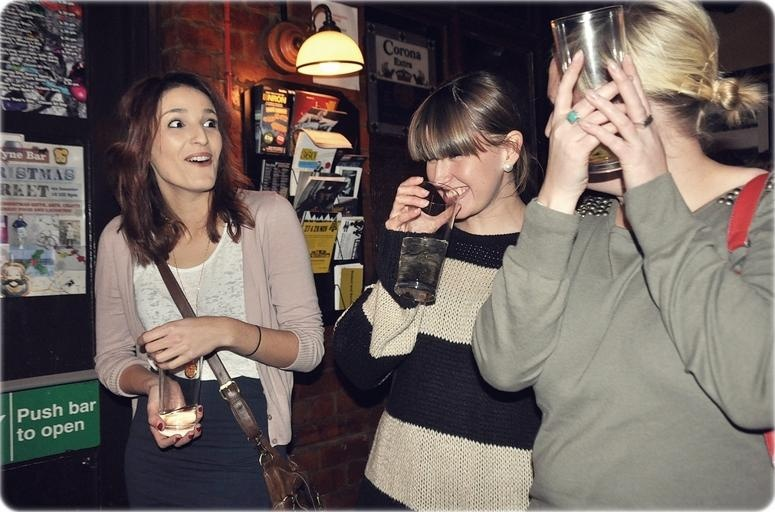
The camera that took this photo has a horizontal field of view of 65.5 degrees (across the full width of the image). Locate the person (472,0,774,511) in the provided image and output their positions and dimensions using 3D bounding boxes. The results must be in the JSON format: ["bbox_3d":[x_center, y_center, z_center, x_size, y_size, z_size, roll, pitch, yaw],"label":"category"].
[{"bbox_3d":[0.648,0.014,1.657,0.763,1.398,0.414,2,11,7],"label":"person"}]

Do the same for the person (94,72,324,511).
[{"bbox_3d":[-0.659,0.105,2.128,0.847,1.515,0.630,-1,11,-7],"label":"person"}]

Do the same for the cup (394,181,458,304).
[{"bbox_3d":[0.116,-0.047,1.947,0.199,0.385,0.165,4,11,18],"label":"cup"}]

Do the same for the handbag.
[{"bbox_3d":[-0.331,0.755,2.025,0.106,0.268,0.189,-34,27,14],"label":"handbag"}]

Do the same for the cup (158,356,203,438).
[{"bbox_3d":[-0.678,0.461,1.965,0.145,0.228,0.107,-4,12,-24],"label":"cup"}]

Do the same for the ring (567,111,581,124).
[{"bbox_3d":[0.497,-0.364,1.590,0.039,0.031,0.010,8,1,7],"label":"ring"}]

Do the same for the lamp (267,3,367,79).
[{"bbox_3d":[-0.290,-1.029,2.869,0.376,0.324,0.445,0,2,-39],"label":"lamp"}]
